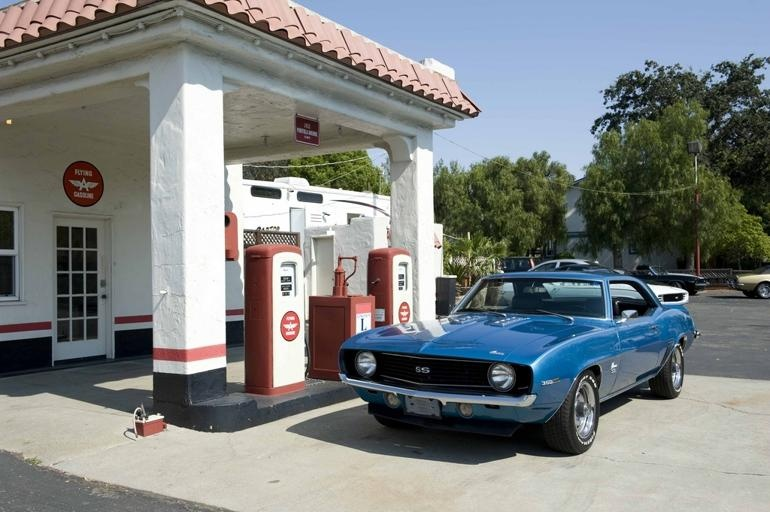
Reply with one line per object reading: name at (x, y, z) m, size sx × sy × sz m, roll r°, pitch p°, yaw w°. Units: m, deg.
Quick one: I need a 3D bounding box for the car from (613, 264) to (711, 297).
car at (10.418, 0.842, 22.758) m, size 3.091 × 0.948 × 1.372 m, roll 0°, pitch 5°, yaw 22°
